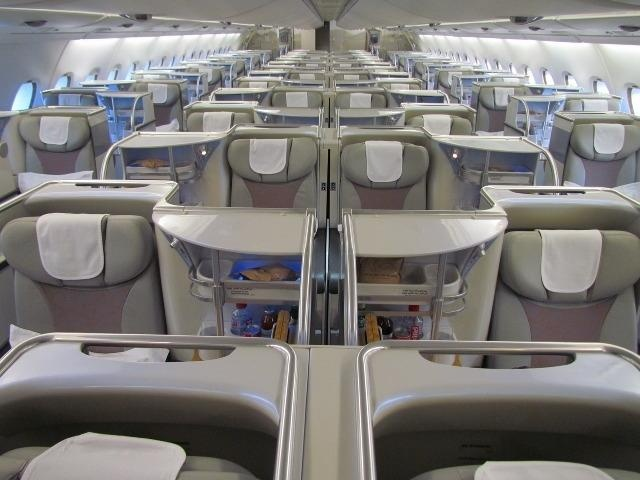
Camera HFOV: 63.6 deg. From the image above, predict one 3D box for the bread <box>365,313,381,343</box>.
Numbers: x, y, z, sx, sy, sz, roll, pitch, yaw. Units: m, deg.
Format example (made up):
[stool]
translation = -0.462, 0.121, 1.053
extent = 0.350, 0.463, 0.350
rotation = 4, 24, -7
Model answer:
[bread]
translation = 0.228, 0.399, 2.289
extent = 0.056, 0.072, 0.194
rotation = 1, 25, 4
